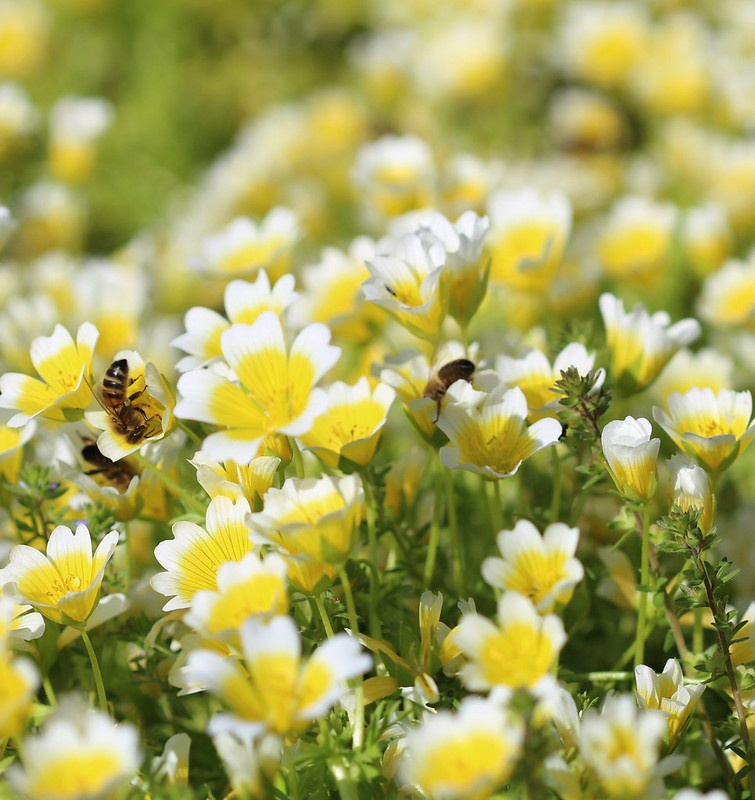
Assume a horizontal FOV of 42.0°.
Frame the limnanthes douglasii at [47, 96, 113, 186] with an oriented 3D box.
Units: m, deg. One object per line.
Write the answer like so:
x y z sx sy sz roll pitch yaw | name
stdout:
-0.938 -0.808 3.113 0.170 0.216 0.282 11 79 15 | limnanthes douglasii

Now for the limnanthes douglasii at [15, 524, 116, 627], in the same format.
-0.302 0.162 0.982 0.100 0.105 0.102 -6 13 -17 | limnanthes douglasii

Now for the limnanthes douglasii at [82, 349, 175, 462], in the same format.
-0.249 0.014 1.004 0.075 0.142 0.075 -1 21 -15 | limnanthes douglasii
